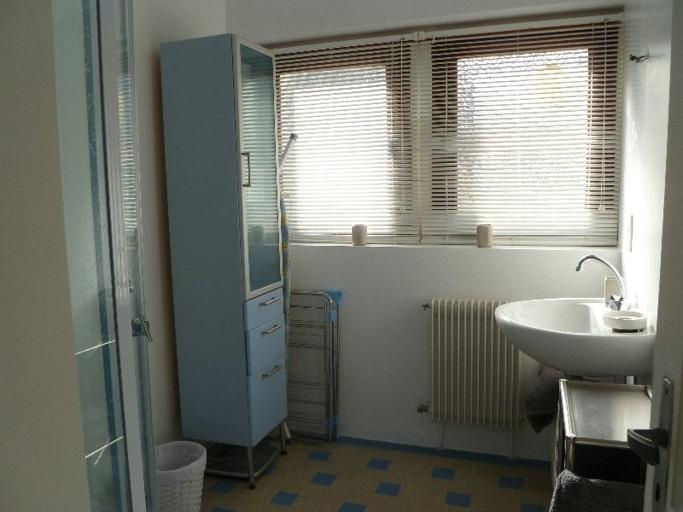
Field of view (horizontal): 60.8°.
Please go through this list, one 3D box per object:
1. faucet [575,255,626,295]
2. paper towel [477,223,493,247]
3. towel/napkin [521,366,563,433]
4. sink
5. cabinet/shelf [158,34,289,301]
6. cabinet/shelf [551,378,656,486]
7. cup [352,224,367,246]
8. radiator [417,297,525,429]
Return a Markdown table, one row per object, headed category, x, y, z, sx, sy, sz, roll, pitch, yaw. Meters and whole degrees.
| category | x | y | z | sx | sy | sz | roll | pitch | yaw |
| --- | --- | --- | --- | --- | --- | --- | --- | --- | --- |
| faucet | 1.214 | 0.104 | 2.707 | 0.204 | 0.280 | 0.066 | -3 | 37 | 33 |
| paper towel | 0.776 | -0.108 | 3.144 | 0.071 | 0.121 | 0.046 | -1 | 10 | 4 |
| towel/napkin | 0.990 | 0.685 | 2.740 | 0.096 | 0.349 | 0.241 | 6 | -1 | -17 |
| sink | 1.014 | 0.352 | 2.509 | 0.497 | 0.205 | 0.769 | -5 | 5 | 13 |
| cabinet/shelf | -0.590 | -0.428 | 2.872 | 0.552 | 1.242 | 0.357 | -3 | 10 | -8 |
| cabinet/shelf | 0.889 | 0.691 | 1.958 | 0.258 | 0.365 | 0.473 | -2 | 9 | 24 |
| cup | 0.103 | -0.126 | 3.357 | 0.097 | 0.199 | 0.109 | -1 | 6 | -3 |
| radiator | 0.702 | 0.556 | 3.052 | 0.637 | 0.793 | 0.178 | 2 | 6 | 20 |
